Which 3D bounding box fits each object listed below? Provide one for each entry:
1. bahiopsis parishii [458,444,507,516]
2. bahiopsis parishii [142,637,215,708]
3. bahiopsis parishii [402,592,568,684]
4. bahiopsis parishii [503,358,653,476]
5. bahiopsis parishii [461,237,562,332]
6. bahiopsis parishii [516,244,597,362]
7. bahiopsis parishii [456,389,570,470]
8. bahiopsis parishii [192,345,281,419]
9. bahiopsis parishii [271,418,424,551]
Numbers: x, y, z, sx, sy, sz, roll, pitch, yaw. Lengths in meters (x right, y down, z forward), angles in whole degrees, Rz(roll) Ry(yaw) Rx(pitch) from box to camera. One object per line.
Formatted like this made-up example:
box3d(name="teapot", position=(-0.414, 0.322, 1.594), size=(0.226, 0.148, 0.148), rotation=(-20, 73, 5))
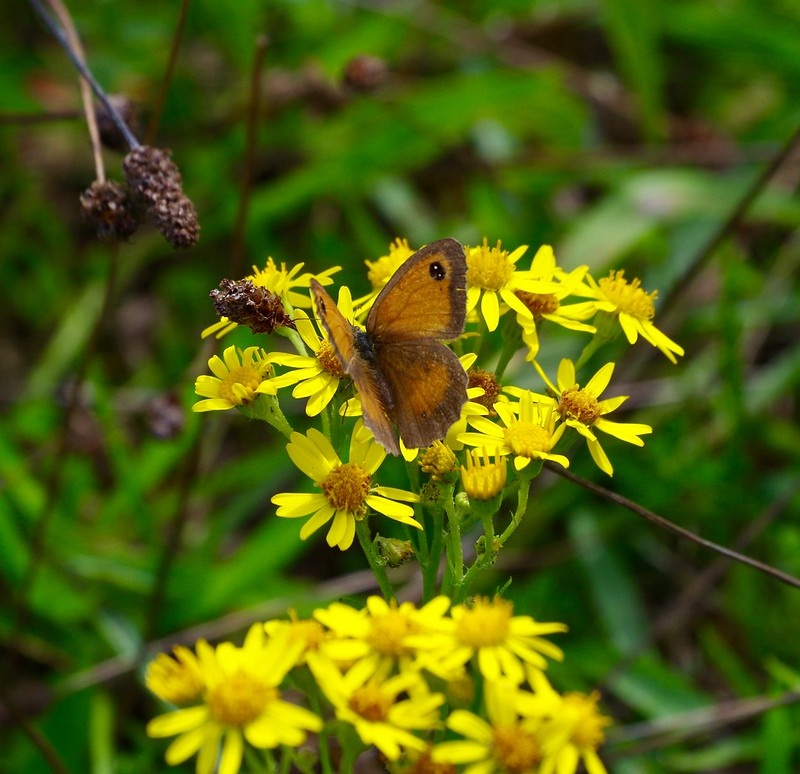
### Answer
box3d(name="bahiopsis parishii", position=(0.166, 0.189, 1.730), size=(0.115, 0.092, 0.116), rotation=(-8, 96, -14))
box3d(name="bahiopsis parishii", position=(-0.408, 0.539, 1.669), size=(0.114, 0.030, 0.108), rotation=(-22, 81, 1))
box3d(name="bahiopsis parishii", position=(0.159, 0.457, 1.591), size=(0.218, 0.056, 0.189), rotation=(7, 40, -1))
box3d(name="bahiopsis parishii", position=(0.359, 0.048, 1.788), size=(0.272, 0.261, 0.069), rotation=(-3, 102, -18))
box3d(name="bahiopsis parishii", position=(0.238, -0.213, 1.904), size=(0.189, 0.160, 0.241), rotation=(1, 68, 3))
box3d(name="bahiopsis parishii", position=(0.392, -0.163, 1.970), size=(0.266, 0.100, 0.242), rotation=(21, 49, -17))
box3d(name="bahiopsis parishii", position=(0.232, 0.074, 1.714), size=(0.211, 0.066, 0.145), rotation=(13, 69, 7))
box3d(name="bahiopsis parishii", position=(-0.331, -0.010, 1.812), size=(0.190, 0.183, 0.077), rotation=(-23, 57, -34))
box3d(name="bahiopsis parishii", position=(-0.108, 0.201, 1.747), size=(0.263, 0.203, 0.253), rotation=(-17, 69, -4))
